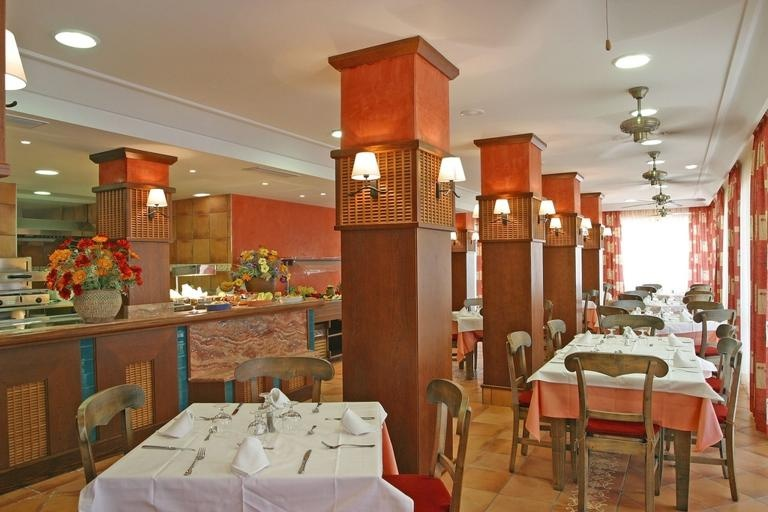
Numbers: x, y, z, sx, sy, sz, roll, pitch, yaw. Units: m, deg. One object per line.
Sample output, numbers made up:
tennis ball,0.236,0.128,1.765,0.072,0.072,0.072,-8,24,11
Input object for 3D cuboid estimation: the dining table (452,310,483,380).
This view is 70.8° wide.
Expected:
dining table,1.409,1.502,9.169,0.475,1.055,1.249,-1,-1,8

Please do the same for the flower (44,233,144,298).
flower,-3.306,0.143,6.360,0.923,0.596,0.901,1,1,-2

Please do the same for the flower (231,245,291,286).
flower,-1.937,0.167,8.463,0.922,0.603,0.889,2,-7,-1

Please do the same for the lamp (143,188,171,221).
lamp,-3.481,-0.794,8.257,0.291,0.347,0.452,-1,-1,-23

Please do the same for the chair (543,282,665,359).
chair,3.143,0.970,7.660,1.065,1.356,1.041,-7,8,-44

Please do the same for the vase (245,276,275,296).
vase,-1.849,0.458,8.104,0.293,0.201,0.281,3,-5,-17

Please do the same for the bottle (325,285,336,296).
bottle,-1.085,0.663,10.403,0.247,0.247,0.236,1,-2,8

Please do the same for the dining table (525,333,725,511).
dining table,2.513,1.425,5.693,1.739,0.917,1.917,0,-1,26

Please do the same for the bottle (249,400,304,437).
bottle,-0.924,1.332,4.442,0.297,0.110,0.264,0,1,-21

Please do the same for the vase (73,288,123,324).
vase,-3.289,0.549,6.201,0.451,0.298,0.436,2,-1,-24
